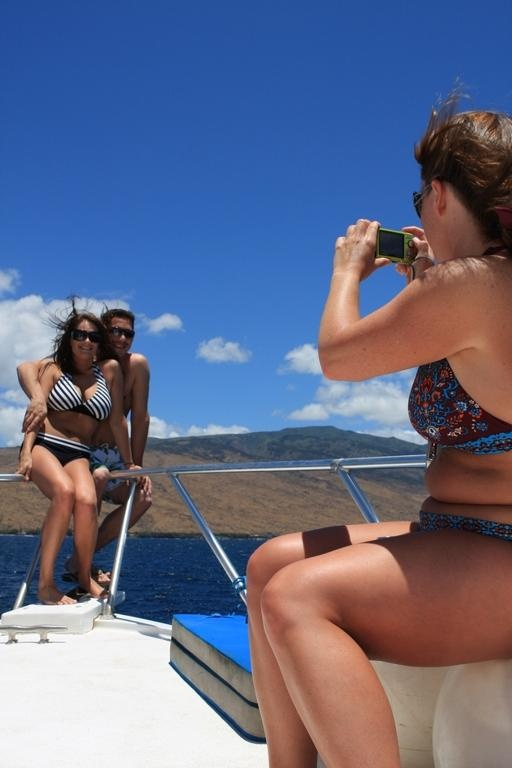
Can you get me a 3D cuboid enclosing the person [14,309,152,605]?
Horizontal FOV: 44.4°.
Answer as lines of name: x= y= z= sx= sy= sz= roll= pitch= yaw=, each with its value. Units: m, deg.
person: x=-0.847 y=0.311 z=3.182 sx=0.615 sy=1.436 sz=1.527 roll=0 pitch=0 yaw=-9
